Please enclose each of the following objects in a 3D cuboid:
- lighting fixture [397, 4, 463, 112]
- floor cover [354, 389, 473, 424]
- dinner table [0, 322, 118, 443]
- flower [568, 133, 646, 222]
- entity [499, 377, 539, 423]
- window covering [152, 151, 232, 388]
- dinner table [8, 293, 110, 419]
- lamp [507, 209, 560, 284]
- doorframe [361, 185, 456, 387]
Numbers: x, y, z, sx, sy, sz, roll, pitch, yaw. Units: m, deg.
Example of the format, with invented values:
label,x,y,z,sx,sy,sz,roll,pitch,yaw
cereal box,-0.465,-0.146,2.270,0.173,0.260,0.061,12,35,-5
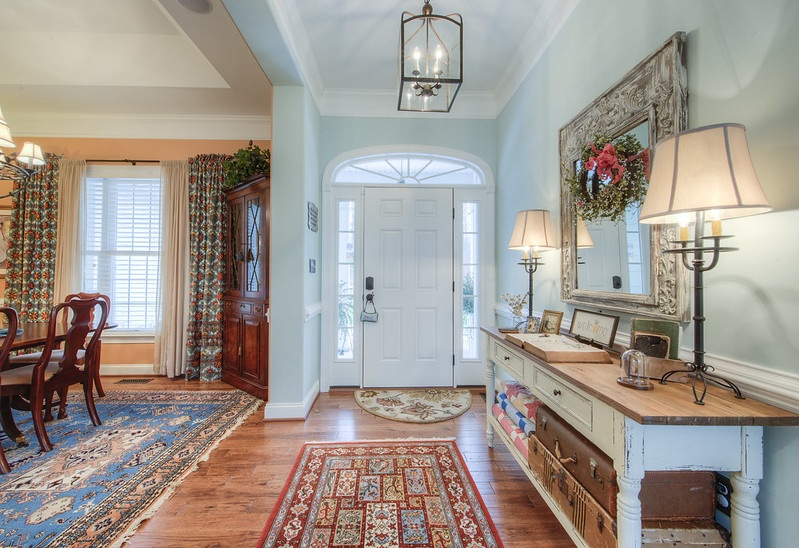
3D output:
label,x,y,z,sx,sy,sz,roll,pitch,yaw
lighting fixture,0.261,-1.855,4.069,0.513,0.985,0.881,1,9,3
floor cover,0.150,1.343,5.004,1.241,0.021,0.848,0,9,0
dinner table,-3.153,1.020,4.475,0.519,0.715,1.020,2,3,-4
flower,1.540,-0.678,3.551,0.218,0.553,0.497,-2,24,-26
entity,0.971,0.998,3.895,0.171,0.093,0.517,-24,13,-8
window covering,-2.458,-0.092,5.738,0.824,2.602,0.605,1,9,5
dinner table,-3.325,0.859,4.580,0.843,1.285,0.742,7,5,22
lamp,1.164,-0.274,4.182,0.364,0.555,0.464,4,10,21
doorframe,0.109,0.150,5.491,0.980,2.202,0.396,0,9,-2
